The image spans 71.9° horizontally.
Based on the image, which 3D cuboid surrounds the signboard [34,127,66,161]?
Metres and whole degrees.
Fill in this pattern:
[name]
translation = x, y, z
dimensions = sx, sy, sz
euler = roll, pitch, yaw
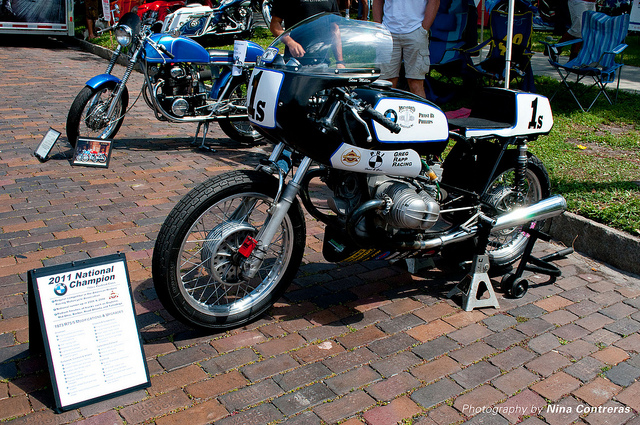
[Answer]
[signboard]
translation = -3.822, -0.965, 6.148
dimensions = 0.362, 0.435, 0.317
euler = 21, 30, 29
